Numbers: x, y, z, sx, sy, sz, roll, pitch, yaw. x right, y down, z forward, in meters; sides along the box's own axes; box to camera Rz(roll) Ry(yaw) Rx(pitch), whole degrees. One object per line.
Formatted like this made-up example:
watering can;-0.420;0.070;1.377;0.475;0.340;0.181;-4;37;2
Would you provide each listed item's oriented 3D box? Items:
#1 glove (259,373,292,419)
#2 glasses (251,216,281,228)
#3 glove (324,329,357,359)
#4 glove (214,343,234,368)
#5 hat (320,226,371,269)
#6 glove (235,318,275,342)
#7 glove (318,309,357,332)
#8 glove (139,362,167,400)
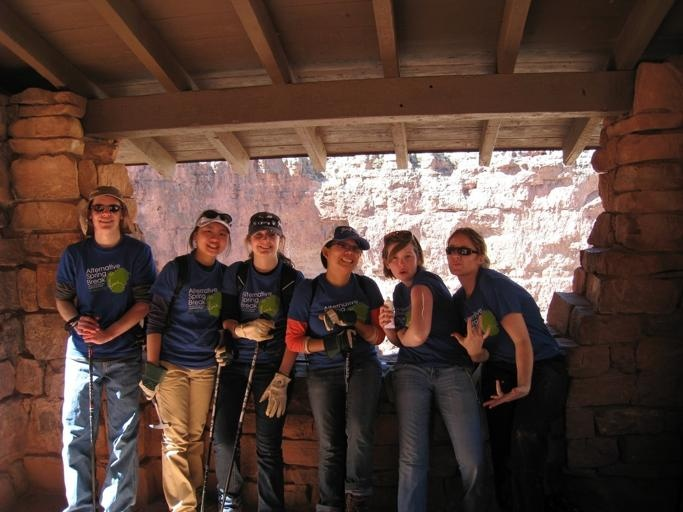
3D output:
glove;-0.502;1.076;4.426;0.205;0.312;0.105;10;-7;0
glasses;-0.629;-0.280;4.752;0.126;0.060;0.169;2;-11;-12
glove;-0.013;0.661;4.376;0.219;0.167;0.122;-14;-3;14
glove;-0.934;0.794;4.588;0.135;0.181;0.184;1;-5;-12
hat;-0.011;-0.092;4.679;0.268;0.209;0.397;11;-31;-31
glove;-0.689;0.591;4.552;0.321;0.185;0.192;0;-5;-2
glove;-0.026;0.496;4.401;0.284;0.171;0.172;0;-5;-3
glove;-1.464;0.973;4.493;0.130;0.161;0.378;19;-32;-6
